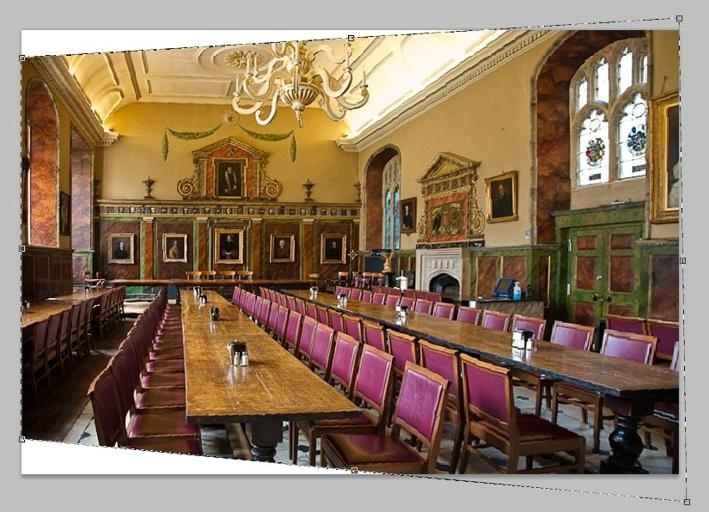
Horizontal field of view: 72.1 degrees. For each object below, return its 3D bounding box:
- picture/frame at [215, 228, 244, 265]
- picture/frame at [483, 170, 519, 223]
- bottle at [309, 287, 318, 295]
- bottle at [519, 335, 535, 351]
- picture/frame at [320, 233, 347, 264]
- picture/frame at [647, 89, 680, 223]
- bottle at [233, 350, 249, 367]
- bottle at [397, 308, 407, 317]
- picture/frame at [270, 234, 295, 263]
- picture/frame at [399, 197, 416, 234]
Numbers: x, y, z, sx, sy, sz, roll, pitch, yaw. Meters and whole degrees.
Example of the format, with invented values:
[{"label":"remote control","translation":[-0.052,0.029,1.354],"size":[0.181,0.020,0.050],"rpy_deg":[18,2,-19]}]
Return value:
[{"label":"picture/frame","translation":[-4.970,-0.415,19.242],"size":[1.381,1.862,0.199],"rpy_deg":[0,1,-15]},{"label":"picture/frame","translation":[3.320,-1.312,10.938],"size":[0.237,1.128,1.058],"rpy_deg":[-2,6,-14]},{"label":"bottle","translation":[-1.008,0.864,12.151],"size":[0.165,0.180,0.314],"rpy_deg":[-2,4,-1]},{"label":"bottle","translation":[1.725,0.865,4.842],"size":[0.148,0.143,0.079],"rpy_deg":[-2,6,-10]},{"label":"picture/frame","translation":[-0.881,-0.297,19.935],"size":[1.160,1.341,0.143],"rpy_deg":[1,-3,-11]},{"label":"picture/frame","translation":[4.568,-1.407,7.196],"size":[0.306,1.846,0.403],"rpy_deg":[-3,7,-18]},{"label":"bottle","translation":[-1.000,0.914,4.336],"size":[0.111,0.114,0.121],"rpy_deg":[0,-3,-8]},{"label":"bottle","translation":[0.698,0.800,6.842],"size":[0.023,0.096,0.099],"rpy_deg":[10,-11,-39]},{"label":"picture/frame","translation":[-2.930,-0.303,19.608],"size":[1.077,1.239,0.168],"rpy_deg":[0,-4,-15]},{"label":"picture/frame","translation":[1.716,-1.324,15.477],"size":[0.099,1.386,1.172],"rpy_deg":[2,-3,-17]}]
